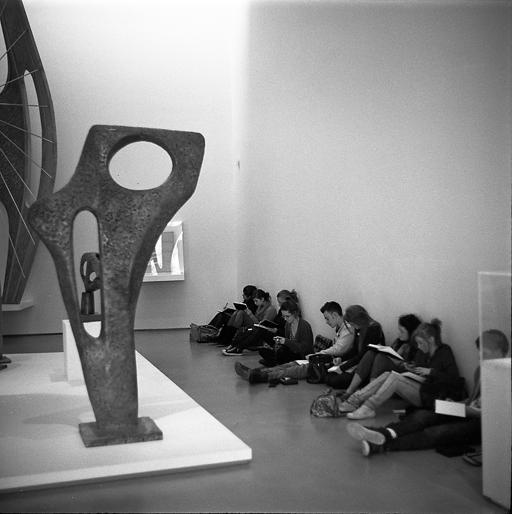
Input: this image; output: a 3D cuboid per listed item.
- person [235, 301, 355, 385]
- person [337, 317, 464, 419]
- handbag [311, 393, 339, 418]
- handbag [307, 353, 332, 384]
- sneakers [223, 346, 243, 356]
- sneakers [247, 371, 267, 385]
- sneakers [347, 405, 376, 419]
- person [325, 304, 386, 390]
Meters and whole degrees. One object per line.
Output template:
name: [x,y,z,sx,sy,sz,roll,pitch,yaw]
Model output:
person: [0.300,0.989,5.002,1.419,1.105,0.661,-6,2,-21]
person: [1.124,0.868,3.582,0.904,0.797,0.499,-3,4,-10]
handbag: [0.561,1.208,3.701,0.212,0.177,0.133,11,-15,-44]
handbag: [0.679,1.214,4.926,0.291,0.346,0.230,1,-4,-5]
sneakers: [-0.342,1.442,6.960,0.281,0.153,0.133,5,-7,-12]
sneakers: [0.027,1.324,5.015,0.202,0.140,0.105,-3,4,-38]
sneakers: [0.828,1.200,3.554,0.193,0.097,0.100,2,-8,-12]
person: [1.063,0.922,4.860,0.633,1.065,0.732,0,-5,5]
